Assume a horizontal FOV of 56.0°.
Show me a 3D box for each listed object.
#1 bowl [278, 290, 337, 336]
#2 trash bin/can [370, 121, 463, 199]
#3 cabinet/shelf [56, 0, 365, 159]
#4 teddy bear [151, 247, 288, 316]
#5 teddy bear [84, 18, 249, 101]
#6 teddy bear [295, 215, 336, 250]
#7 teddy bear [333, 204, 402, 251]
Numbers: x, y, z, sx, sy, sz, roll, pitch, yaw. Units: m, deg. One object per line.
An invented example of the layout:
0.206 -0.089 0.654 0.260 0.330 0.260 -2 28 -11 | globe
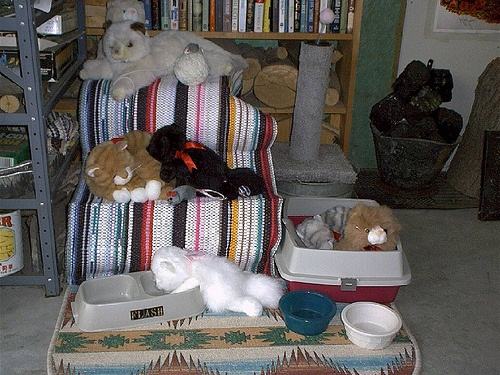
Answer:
0.248 0.552 2.077 0.252 0.099 0.252 0 21 0 | bowl
1.198 -0.152 3.457 0.526 0.341 0.530 -14 28 -17 | trash bin/can
-0.267 -0.655 2.744 1.187 1.103 0.342 1 35 4 | cabinet/shelf
-0.152 0.431 2.131 0.491 0.179 0.329 9 9 -13 | teddy bear
-0.449 -0.729 2.591 0.641 0.232 0.513 -15 34 -27 | teddy bear
0.327 0.226 2.357 0.151 0.047 0.154 -14 61 1 | teddy bear
0.556 0.195 2.264 0.220 0.190 0.253 5 -4 -8 | teddy bear
